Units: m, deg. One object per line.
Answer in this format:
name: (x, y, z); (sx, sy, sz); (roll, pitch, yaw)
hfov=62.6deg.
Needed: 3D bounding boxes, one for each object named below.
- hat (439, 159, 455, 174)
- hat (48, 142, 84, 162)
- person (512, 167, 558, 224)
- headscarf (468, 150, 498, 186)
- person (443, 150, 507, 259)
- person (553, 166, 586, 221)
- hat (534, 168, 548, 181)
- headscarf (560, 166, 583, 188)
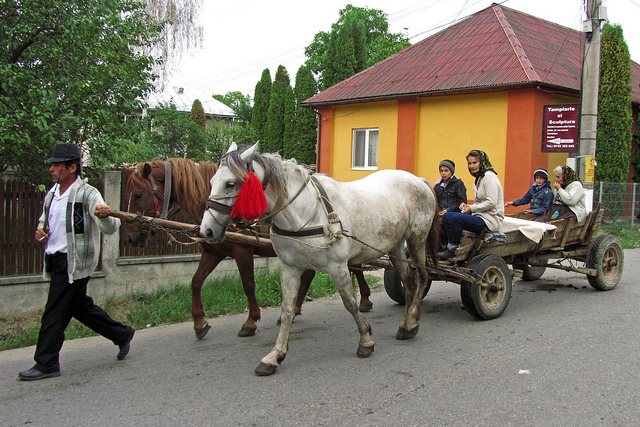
hat: (2.289, -0.828, 9.467); (0.232, 0.251, 0.573); (2, 12, 12)
hat: (-3.266, -0.772, 6.763); (0.262, 0.156, 0.286); (-5, -10, 43)
person: (4.534, -0.366, 11.072); (0.734, 1.210, 0.784); (-2, 9, -24)
headscarf: (2.756, -0.770, 8.934); (0.361, 0.584, 0.614); (3, 12, 18)
person: (2.516, -0.165, 8.611); (1.125, 1.639, 0.652); (-8, 14, -34)
person: (4.782, -0.364, 10.165); (0.768, 1.258, 1.060); (1, 2, 25)
hat: (4.702, -0.808, 11.159); (0.287, 0.225, 0.309); (-3, 12, -13)
headscarf: (4.852, -0.705, 10.232); (0.290, 0.400, 0.203); (-6, 4, 17)
